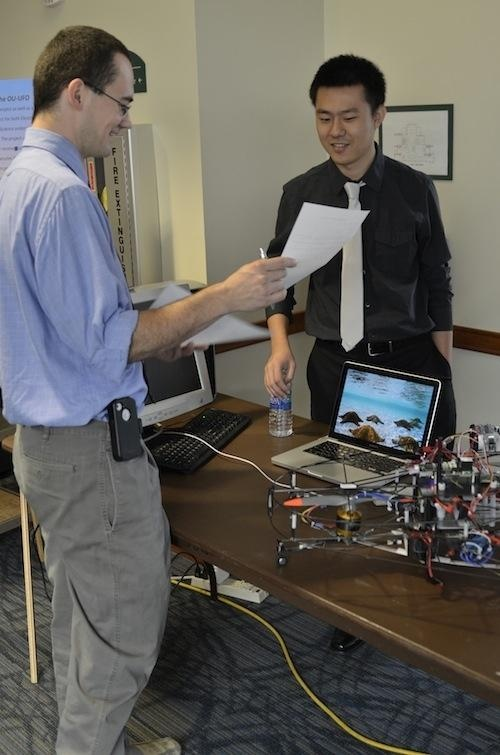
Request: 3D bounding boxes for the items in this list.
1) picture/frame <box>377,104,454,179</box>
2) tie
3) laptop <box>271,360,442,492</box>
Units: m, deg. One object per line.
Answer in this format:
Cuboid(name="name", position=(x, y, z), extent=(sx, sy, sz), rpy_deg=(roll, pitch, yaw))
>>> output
Cuboid(name="picture/frame", position=(0.779, -1.101, 2.836), extent=(0.339, 0.319, 0.014), rpy_deg=(-3, -6, -15))
Cuboid(name="tie", position=(0.341, -0.359, 1.992), extent=(0.076, 0.559, 0.141), rpy_deg=(0, 13, 11))
Cuboid(name="laptop", position=(0.263, 0.125, 1.557), extent=(0.399, 0.213, 0.415), rpy_deg=(-7, 15, -6))
